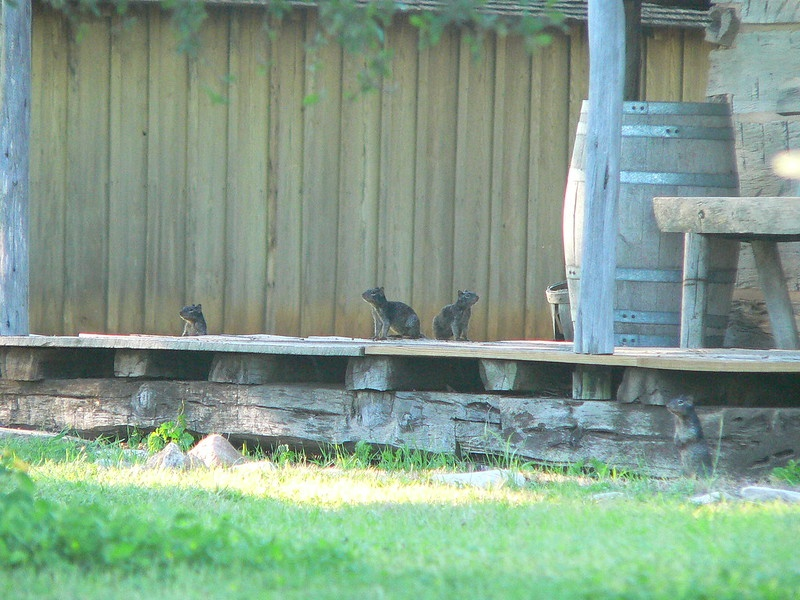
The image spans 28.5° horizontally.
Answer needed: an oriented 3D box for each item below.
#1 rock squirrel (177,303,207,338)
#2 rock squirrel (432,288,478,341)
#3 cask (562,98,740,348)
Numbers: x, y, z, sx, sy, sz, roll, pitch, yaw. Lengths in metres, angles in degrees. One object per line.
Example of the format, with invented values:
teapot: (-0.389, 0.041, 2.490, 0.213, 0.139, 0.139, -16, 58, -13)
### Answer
rock squirrel: (-1.686, 0.163, 12.459, 0.194, 0.295, 0.291, 1, -8, 26)
rock squirrel: (0.404, 0.123, 12.111, 0.291, 0.379, 0.443, 0, 0, -7)
cask: (1.841, -0.565, 11.648, 1.248, 1.823, 0.508, 0, 0, 12)
